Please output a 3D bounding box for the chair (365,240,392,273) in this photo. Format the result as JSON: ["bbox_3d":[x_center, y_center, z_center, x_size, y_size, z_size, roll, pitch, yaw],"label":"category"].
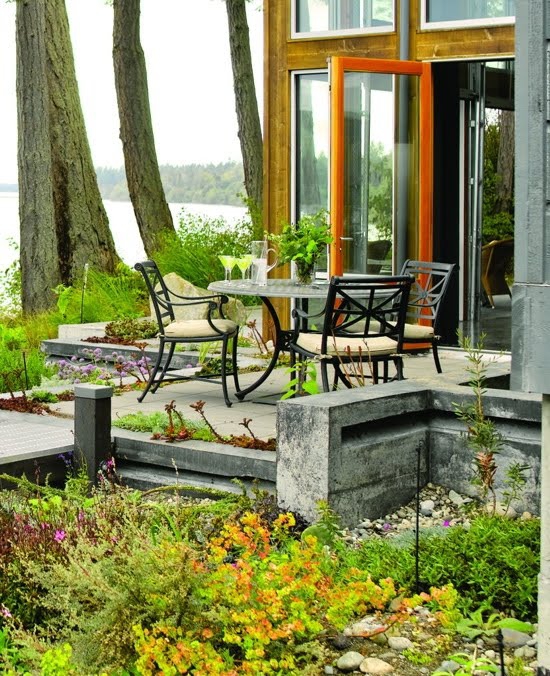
[{"bbox_3d":[0.849,-0.692,7.250,0.209,0.292,0.251,-3,14,-12],"label":"chair"}]

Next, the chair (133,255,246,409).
[{"bbox_3d":[-0.550,-0.036,5.547,0.603,0.874,0.532,1,5,1],"label":"chair"}]

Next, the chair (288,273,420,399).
[{"bbox_3d":[0.533,-0.016,4.829,0.661,0.787,0.678,-12,19,-35],"label":"chair"}]

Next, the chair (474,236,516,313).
[{"bbox_3d":[2.802,-0.828,11.099,0.375,0.917,1.070,0,9,15],"label":"chair"}]
